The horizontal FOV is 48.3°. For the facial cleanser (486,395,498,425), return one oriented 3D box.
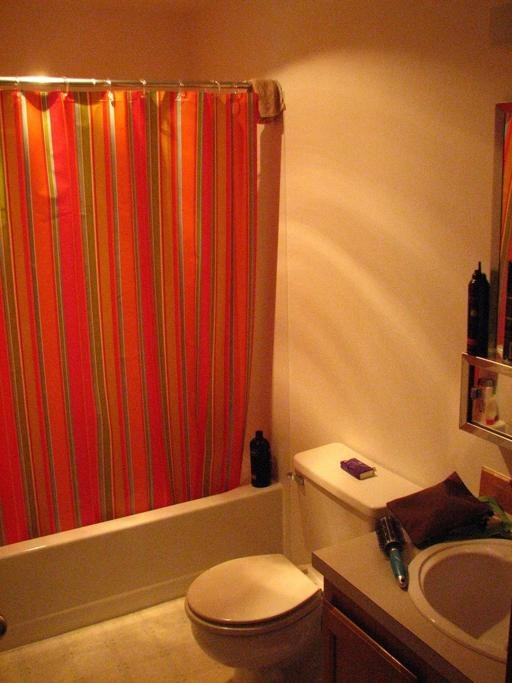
[{"bbox_3d":[0.500,0.143,1.222,0.021,0.052,0.055,-8,42,28],"label":"facial cleanser"}]

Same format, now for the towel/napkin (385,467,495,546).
[{"bbox_3d":[0.410,0.375,1.271,0.143,0.048,0.152,-27,26,3],"label":"towel/napkin"}]
